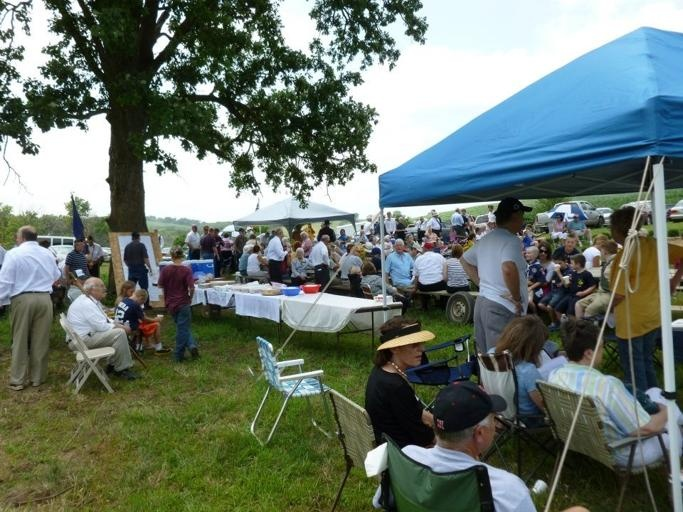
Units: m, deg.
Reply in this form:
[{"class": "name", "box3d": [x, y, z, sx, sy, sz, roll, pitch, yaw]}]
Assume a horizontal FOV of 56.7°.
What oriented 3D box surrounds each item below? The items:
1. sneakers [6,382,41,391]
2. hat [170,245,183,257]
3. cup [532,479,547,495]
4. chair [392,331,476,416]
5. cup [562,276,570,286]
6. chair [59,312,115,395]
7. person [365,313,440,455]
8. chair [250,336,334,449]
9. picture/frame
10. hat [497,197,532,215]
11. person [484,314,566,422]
[{"class": "sneakers", "box3d": [-4.268, 1.723, 8.449, 0.348, 0.174, 0.137, -1, -2, -13]}, {"class": "hat", "box3d": [-2.485, -0.060, 9.552, 0.130, 0.170, 0.168, 0, 8, -3]}, {"class": "cup", "box3d": [1.844, 2.138, 5.834, 0.114, 0.115, 0.108, -33, -9, -6]}, {"class": "chair", "box3d": [1.285, 1.336, 7.701, 0.883, 1.318, 0.985, -4, -3, 32]}, {"class": "cup", "box3d": [3.538, 0.400, 9.902, 0.122, 0.129, 0.117, -3, -1, 0]}, {"class": "chair", "box3d": [-3.406, 1.299, 8.476, 0.854, 0.996, 0.612, 8, 15, 41]}, {"class": "person", "box3d": [0.590, 1.326, 5.603, 0.735, 1.533, 0.702, 2, 4, 5]}, {"class": "chair", "box3d": [-0.550, 1.515, 7.209, 0.894, 1.159, 0.850, -1, 4, -38]}, {"class": "picture/frame", "box3d": [-4.551, 0.177, 14.105, 1.051, 1.708, 0.032, -1, -31, -28]}, {"class": "hat", "box3d": [1.880, -0.536, 6.871, 0.281, 0.168, 0.201, 1, 3, -12]}, {"class": "person", "box3d": [1.750, 1.037, 6.502, 0.868, 1.325, 0.784, -5, 6, -38]}]
